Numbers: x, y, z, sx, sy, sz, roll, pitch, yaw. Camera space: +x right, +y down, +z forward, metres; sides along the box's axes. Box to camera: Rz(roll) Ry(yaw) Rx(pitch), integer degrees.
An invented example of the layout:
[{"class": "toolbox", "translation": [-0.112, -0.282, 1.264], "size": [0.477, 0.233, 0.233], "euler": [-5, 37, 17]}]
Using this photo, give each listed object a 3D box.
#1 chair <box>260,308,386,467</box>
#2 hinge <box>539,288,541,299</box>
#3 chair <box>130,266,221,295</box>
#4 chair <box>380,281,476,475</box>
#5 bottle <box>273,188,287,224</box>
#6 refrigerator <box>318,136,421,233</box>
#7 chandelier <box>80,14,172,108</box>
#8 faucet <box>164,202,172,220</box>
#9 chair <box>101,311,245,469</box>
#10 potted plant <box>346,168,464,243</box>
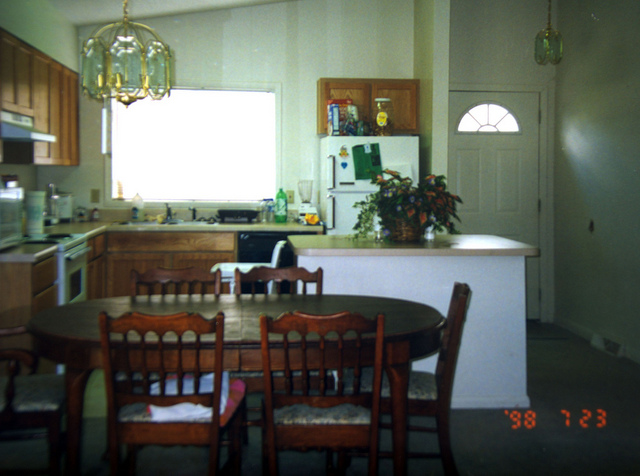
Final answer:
[{"class": "chair", "translation": [0.007, 0.806, 3.126], "size": [0.637, 1.035, 0.515], "euler": [0, 14, -3]}, {"class": "hinge", "translation": [2.308, 0.585, 6.115], "size": [0.009, 0.101, 0.023], "euler": [-6, 15, -26]}, {"class": "chair", "translation": [-0.935, 0.279, 3.794], "size": [0.582, 0.233, 0.299], "euler": [0, 14, -3]}, {"class": "chair", "translation": [0.612, 0.826, 3.397], "size": [0.436, 1.190, 0.890], "euler": [4, 14, 13]}, {"class": "bottle", "translation": [-0.430, -0.344, 6.230], "size": [0.155, 0.351, 0.339], "euler": [0, 14, -4]}, {"class": "refrigerator", "translation": [0.470, -0.614, 5.734], "size": [1.459, 1.004, 0.802], "euler": [-1, 9, 0]}, {"class": "chandelier", "translation": [-1.337, -1.234, 3.952], "size": [0.602, 0.708, 0.593], "euler": [-5, 14, -35]}, {"class": "faucet", "translation": [-1.621, -0.293, 6.218], "size": [0.070, 0.156, 0.149], "euler": [-3, 14, -15]}, {"class": "chair", "translation": [-0.772, 0.875, 3.113], "size": [0.722, 1.145, 0.555], "euler": [-1, 14, -7]}, {"class": "potted plant", "translation": [0.674, -0.220, 4.562], "size": [0.641, 0.362, 0.640], "euler": [1, -1, -2]}]
